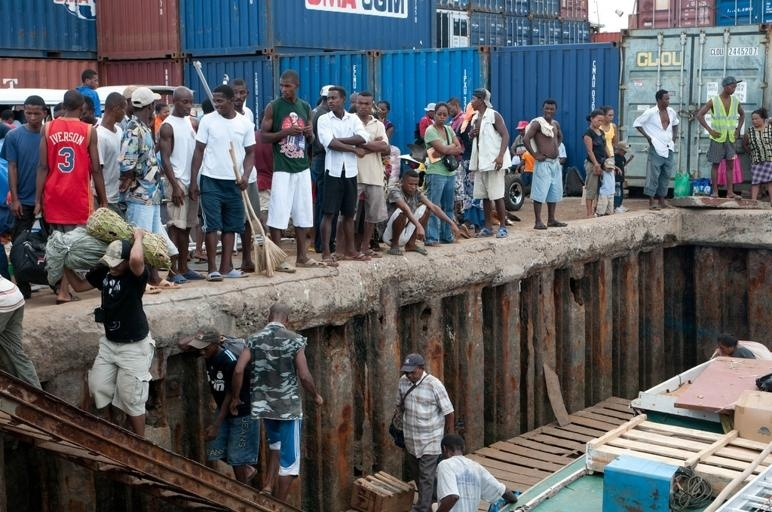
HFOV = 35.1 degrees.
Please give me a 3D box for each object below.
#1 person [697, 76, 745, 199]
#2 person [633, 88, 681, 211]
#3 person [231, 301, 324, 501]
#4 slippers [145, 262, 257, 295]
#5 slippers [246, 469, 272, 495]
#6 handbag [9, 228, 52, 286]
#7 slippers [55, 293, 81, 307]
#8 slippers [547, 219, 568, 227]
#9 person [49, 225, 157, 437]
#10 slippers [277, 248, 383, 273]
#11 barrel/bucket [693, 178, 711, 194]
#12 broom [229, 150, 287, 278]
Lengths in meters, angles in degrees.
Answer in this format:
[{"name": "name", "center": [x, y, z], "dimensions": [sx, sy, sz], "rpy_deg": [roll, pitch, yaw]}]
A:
[{"name": "person", "center": [5.847, -2.062, 21.226], "dimensions": [0.719, 2.050, 0.501], "rpy_deg": [-1, 5, 2]}, {"name": "person", "center": [4.659, -1.771, 21.029], "dimensions": [0.661, 2.102, 0.709], "rpy_deg": [0, 10, 14]}, {"name": "person", "center": [-1.436, 1.706, 15.747], "dimensions": [0.887, 2.785, 0.929], "rpy_deg": [0, 6, -5]}, {"name": "slippers", "center": [-2.713, 0.373, 16.024], "dimensions": [1.041, 0.325, 0.281], "rpy_deg": [-8, -12, -19]}, {"name": "slippers", "center": [-1.622, 2.894, 15.564], "dimensions": [0.128, 0.368, 0.104], "rpy_deg": [-18, -3, 13]}, {"name": "handbag", "center": [-4.550, 0.226, 15.599], "dimensions": [0.487, 1.025, 0.890], "rpy_deg": [-6, -4, -10]}, {"name": "slippers", "center": [-4.023, 0.567, 15.530], "dimensions": [0.274, 0.112, 0.149], "rpy_deg": [-4, 9, -27]}, {"name": "slippers", "center": [2.761, -0.496, 19.734], "dimensions": [0.314, 0.134, 0.123], "rpy_deg": [-1, 7, 0]}, {"name": "person", "center": [-3.376, 0.906, 14.774], "dimensions": [0.875, 2.427, 0.827], "rpy_deg": [4, -4, -33]}, {"name": "slippers", "center": [-0.964, 0.127, 16.833], "dimensions": [0.836, 0.148, 0.260], "rpy_deg": [-7, 44, 1]}, {"name": "barrel/bucket", "center": [5.636, -1.220, 21.868], "dimensions": [0.332, 0.241, 0.384], "rpy_deg": [4, -3, -4]}, {"name": "broom", "center": [-1.683, -0.404, 16.804], "dimensions": [0.806, 1.960, 0.590], "rpy_deg": [3, -2, -6]}]
